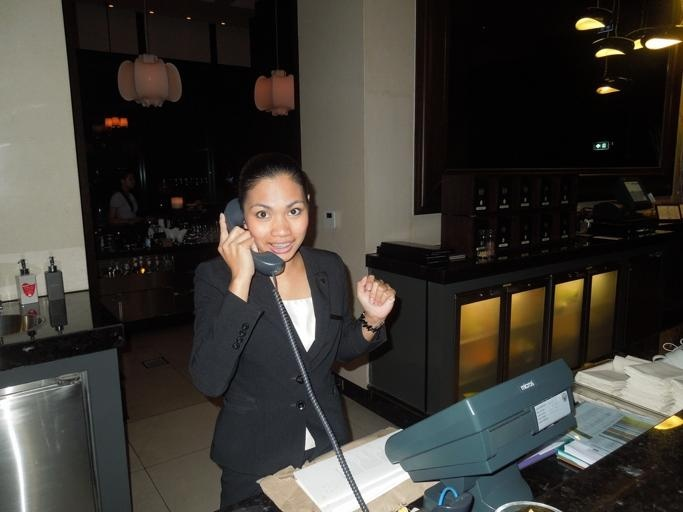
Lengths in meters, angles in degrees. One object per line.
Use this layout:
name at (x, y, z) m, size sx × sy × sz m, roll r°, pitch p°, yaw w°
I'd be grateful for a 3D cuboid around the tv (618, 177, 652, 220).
tv at (2.920, -0.583, 4.834) m, size 0.459 × 0.383 × 0.220 m, roll -15°, pitch 15°, yaw -41°

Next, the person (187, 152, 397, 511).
person at (-0.211, 0.265, 1.965) m, size 0.803 × 1.323 × 0.590 m, roll -12°, pitch 14°, yaw -35°

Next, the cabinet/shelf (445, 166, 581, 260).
cabinet/shelf at (1.383, -0.365, 3.951) m, size 1.229 × 0.670 × 0.371 m, roll -11°, pitch 13°, yaw -27°

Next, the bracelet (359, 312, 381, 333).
bracelet at (0.120, 0.289, 2.110) m, size 0.067 × 0.035 × 0.086 m, roll 15°, pitch -27°, yaw 10°

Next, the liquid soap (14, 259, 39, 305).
liquid soap at (-1.784, 0.142, 2.760) m, size 0.116 × 0.242 × 0.096 m, roll 1°, pitch 13°, yaw 26°

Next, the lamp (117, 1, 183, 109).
lamp at (-1.683, -1.512, 4.241) m, size 0.453 × 0.383 × 0.372 m, roll -1°, pitch 12°, yaw 17°

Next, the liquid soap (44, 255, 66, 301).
liquid soap at (-1.656, 0.122, 2.818) m, size 0.089 × 0.239 × 0.120 m, roll -12°, pitch 14°, yaw -32°
